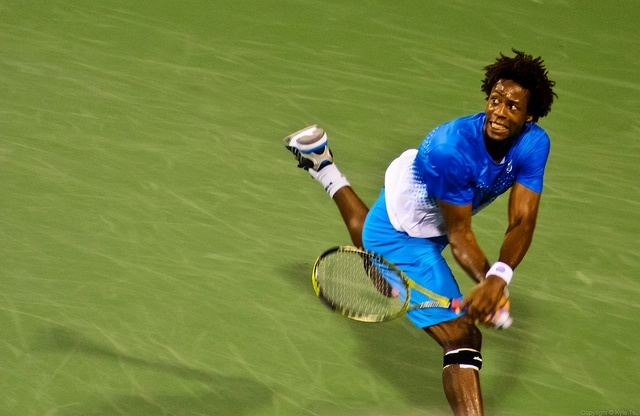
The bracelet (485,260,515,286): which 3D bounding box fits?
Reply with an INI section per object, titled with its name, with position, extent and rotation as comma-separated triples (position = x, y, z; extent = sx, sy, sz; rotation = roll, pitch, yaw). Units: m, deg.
[bracelet]
position = 1.469, 0.516, 7.969
extent = 0.131, 0.208, 0.194
rotation = -61, 5, -19
